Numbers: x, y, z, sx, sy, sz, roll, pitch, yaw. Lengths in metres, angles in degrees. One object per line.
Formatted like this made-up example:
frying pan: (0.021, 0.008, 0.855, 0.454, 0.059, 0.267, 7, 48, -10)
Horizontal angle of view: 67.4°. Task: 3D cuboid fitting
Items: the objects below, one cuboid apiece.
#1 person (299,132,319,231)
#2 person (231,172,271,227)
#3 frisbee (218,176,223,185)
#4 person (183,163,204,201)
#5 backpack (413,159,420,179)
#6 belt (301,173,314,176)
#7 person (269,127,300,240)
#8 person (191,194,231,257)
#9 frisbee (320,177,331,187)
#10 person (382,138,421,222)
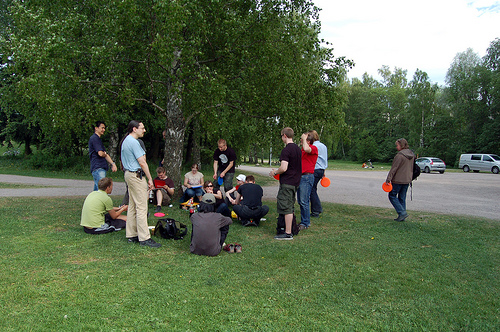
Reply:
person: (1.804, 0.447, 11.723, 0.520, 3.092, 1.299, 2, 1, 10)
person: (0.027, 1.118, 12.399, 1.197, 1.713, 1.062, 6, -11, -13)
frisbee: (-1.144, 0.529, 14.224, 0.190, 0.342, 0.224, 2, 1, 14)
person: (-2.166, 0.596, 14.679, 0.701, 1.366, 0.927, 1, 1, -37)
backpack: (5.716, 0.138, 12.947, 0.285, 0.394, 0.378, -9, -28, 24)
belt: (1.749, 0.240, 11.547, 0.381, 0.081, 0.080, 1, 0, -30)
person: (1.040, 0.515, 11.300, 0.981, 3.315, 1.048, 2, 3, 10)
person: (-1.050, 1.659, 10.176, 0.830, 1.469, 1.163, 10, 37, -2)
frisbee: (2.566, 0.540, 12.863, 0.307, 0.319, 0.361, -5, -4, 21)
person: (5.118, 0.452, 12.808, 1.267, 2.297, 0.506, 1, 1, -19)
